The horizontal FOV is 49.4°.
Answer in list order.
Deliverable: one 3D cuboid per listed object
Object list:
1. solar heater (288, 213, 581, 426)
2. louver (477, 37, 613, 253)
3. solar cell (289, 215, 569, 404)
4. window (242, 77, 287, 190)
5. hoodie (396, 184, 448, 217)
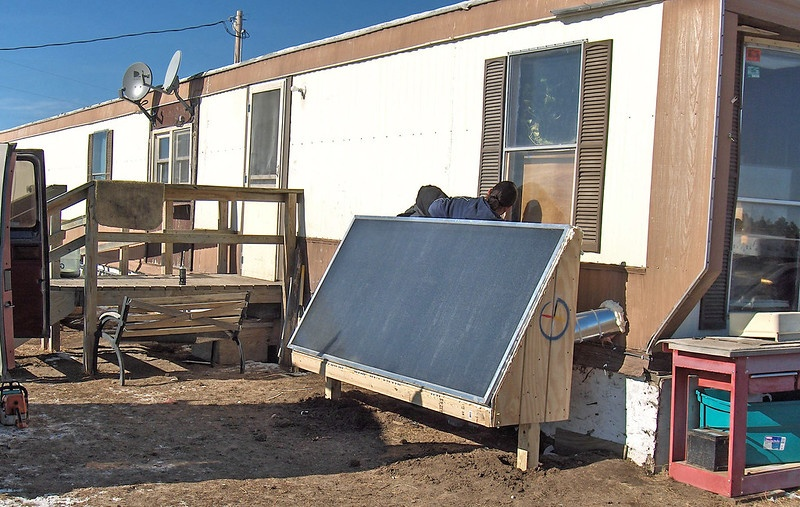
[{"bbox_3d":[0.232,0.644,9.621,3.132,1.933,1.345,6,8,44],"label":"solar heater"},{"bbox_3d":[1.618,-1.262,9.813,1.693,2.211,0.335,11,14,37],"label":"louver"},{"bbox_3d":[0.160,0.508,9.522,1.130,1.658,3.160,0,4,-45],"label":"solar cell"},{"bbox_3d":[-2.074,-1.724,13.148,0.866,1.624,0.047,0,-5,41],"label":"window"},{"bbox_3d":[0.250,-0.580,10.451,0.184,0.477,0.419,18,12,-40],"label":"hoodie"}]
